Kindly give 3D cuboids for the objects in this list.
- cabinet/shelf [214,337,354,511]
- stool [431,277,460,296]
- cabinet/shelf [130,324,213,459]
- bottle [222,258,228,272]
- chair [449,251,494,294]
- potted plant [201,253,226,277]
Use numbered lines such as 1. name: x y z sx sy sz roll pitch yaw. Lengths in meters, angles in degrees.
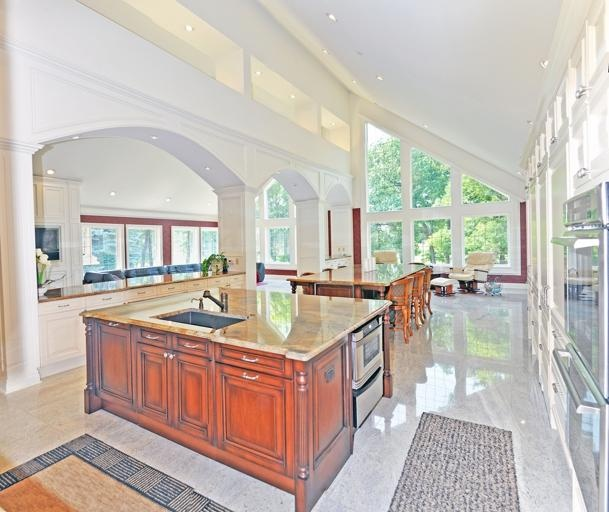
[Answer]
1. cabinet/shelf: -0.089 0.903 3.210 1.224 1.314 0.899 1 1 33
2. stool: 3.052 0.661 9.254 0.405 0.335 0.597 -3 8 -10
3. cabinet/shelf: -1.011 1.033 3.232 0.937 0.911 0.492 2 1 34
4. bottle: -1.296 0.124 6.844 0.105 0.217 0.311 -2 13 -7
5. chair: 3.817 0.336 9.486 1.026 1.107 0.785 -3 3 -37
6. potted plant: -1.499 0.120 6.936 0.416 0.424 0.359 6 9 38
